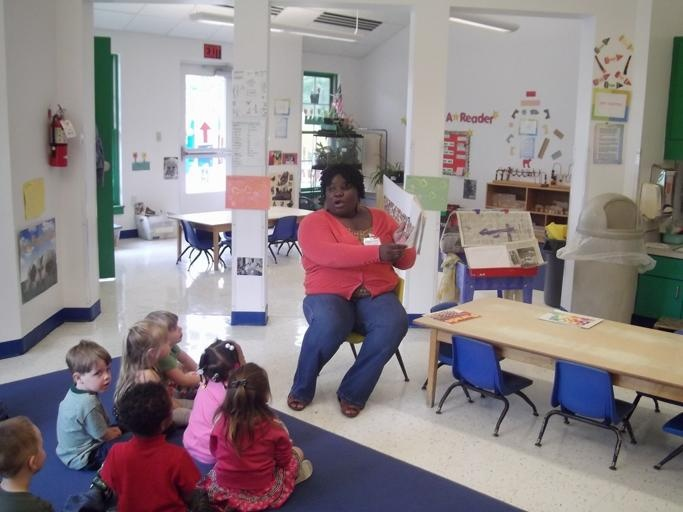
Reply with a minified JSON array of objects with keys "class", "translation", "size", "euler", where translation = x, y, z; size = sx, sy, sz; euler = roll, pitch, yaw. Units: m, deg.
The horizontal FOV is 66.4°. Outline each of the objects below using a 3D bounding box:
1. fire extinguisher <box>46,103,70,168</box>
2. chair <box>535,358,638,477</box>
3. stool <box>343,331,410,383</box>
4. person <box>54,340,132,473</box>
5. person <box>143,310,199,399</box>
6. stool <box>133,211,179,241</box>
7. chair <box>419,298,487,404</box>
[{"class":"fire extinguisher","translation":[-2.889,-1.222,5.306],"size":[0.179,0.616,0.218],"euler":[7,14,43]},{"class":"chair","translation":[1.703,1.141,3.606],"size":[0.490,0.630,0.432],"euler":[12,33,35]},{"class":"stool","translation":[0.286,0.858,4.599],"size":[0.468,0.699,0.490],"euler":[-4,-2,-12]},{"class":"person","translation":[-1.500,0.936,3.155],"size":[0.464,0.806,0.498],"euler":[-4,22,-39]},{"class":"person","translation":[-1.165,0.785,3.814],"size":[0.397,0.744,0.319],"euler":[2,24,-7]},{"class":"stool","translation":[-3.471,-0.513,9.941],"size":[0.773,0.553,0.598],"euler":[-1,2,-38]},{"class":"chair","translation":[0.826,0.780,4.531],"size":[0.571,0.829,0.657],"euler":[5,8,42]}]
